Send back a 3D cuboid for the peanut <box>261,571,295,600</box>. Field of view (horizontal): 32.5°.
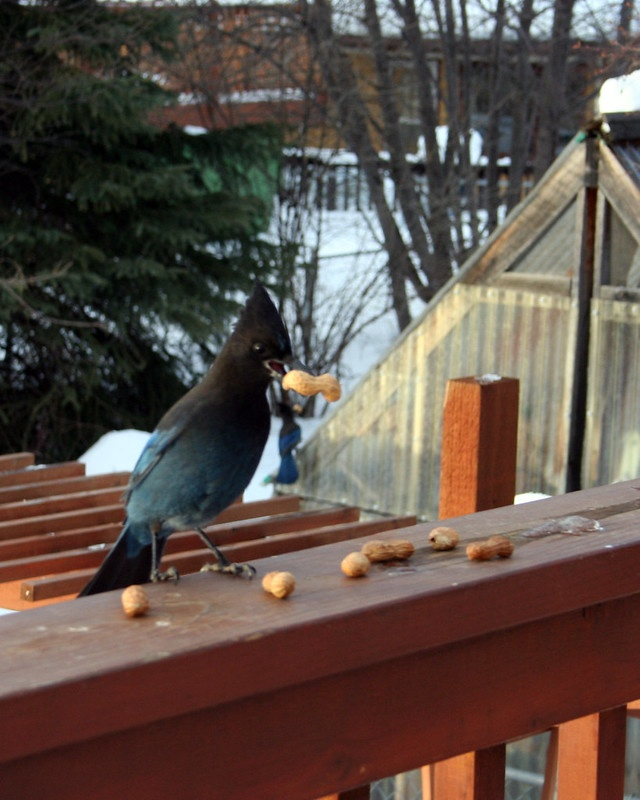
[{"bbox_3d":[-0.046,0.202,1.201,0.022,0.017,0.036,-17,7,-17],"label":"peanut"}]

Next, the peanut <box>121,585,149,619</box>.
[{"bbox_3d":[-0.197,0.211,1.153,0.019,0.017,0.037,-17,13,-7],"label":"peanut"}]

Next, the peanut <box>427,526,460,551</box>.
[{"bbox_3d":[0.159,0.179,1.405,0.030,0.028,0.014,3,-18,5],"label":"peanut"}]

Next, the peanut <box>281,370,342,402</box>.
[{"bbox_3d":[-0.013,-0.018,1.530,0.076,0.041,0.030,10,17,5],"label":"peanut"}]

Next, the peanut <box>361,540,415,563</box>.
[{"bbox_3d":[0.085,0.187,1.374,0.063,0.019,0.070,0,8,9],"label":"peanut"}]

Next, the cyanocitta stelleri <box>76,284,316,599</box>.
[{"bbox_3d":[-0.196,0.076,1.718,0.184,0.440,0.515,8,-11,-38],"label":"cyanocitta stelleri"}]

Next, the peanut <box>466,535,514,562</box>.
[{"bbox_3d":[0.202,0.178,1.325,0.046,0.018,0.027,0,-25,-44],"label":"peanut"}]
